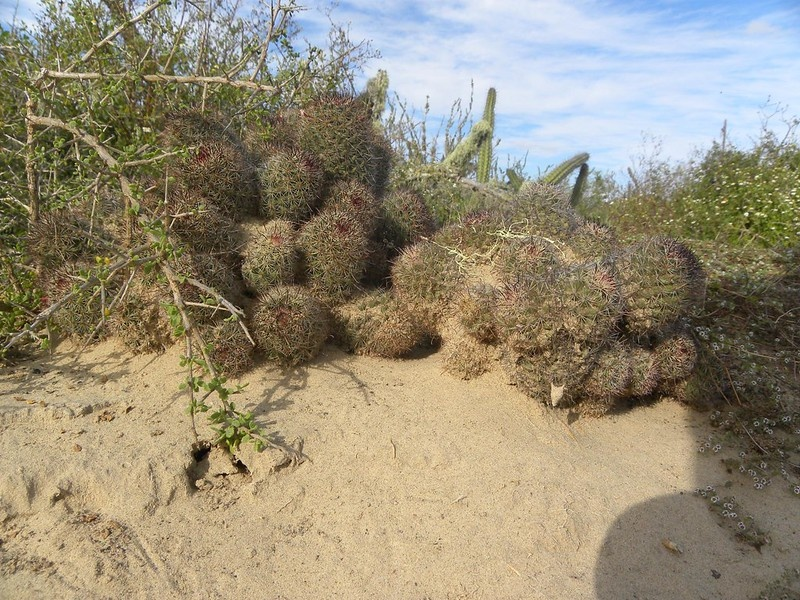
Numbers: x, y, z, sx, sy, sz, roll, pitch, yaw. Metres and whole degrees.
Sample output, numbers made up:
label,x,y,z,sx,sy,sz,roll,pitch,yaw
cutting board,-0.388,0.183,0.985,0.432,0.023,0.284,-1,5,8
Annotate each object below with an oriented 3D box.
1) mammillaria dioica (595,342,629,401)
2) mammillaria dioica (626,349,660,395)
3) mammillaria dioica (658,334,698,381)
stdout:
label,x,y,z,sx,sy,sz,roll,pitch,yaw
mammillaria dioica,2.098,0.706,6.027,0.339,0.517,0.213,3,1,-5
mammillaria dioica,2.487,0.764,6.152,0.371,0.460,0.177,0,7,-15
mammillaria dioica,2.857,0.594,6.308,0.366,0.489,0.211,11,8,-8
